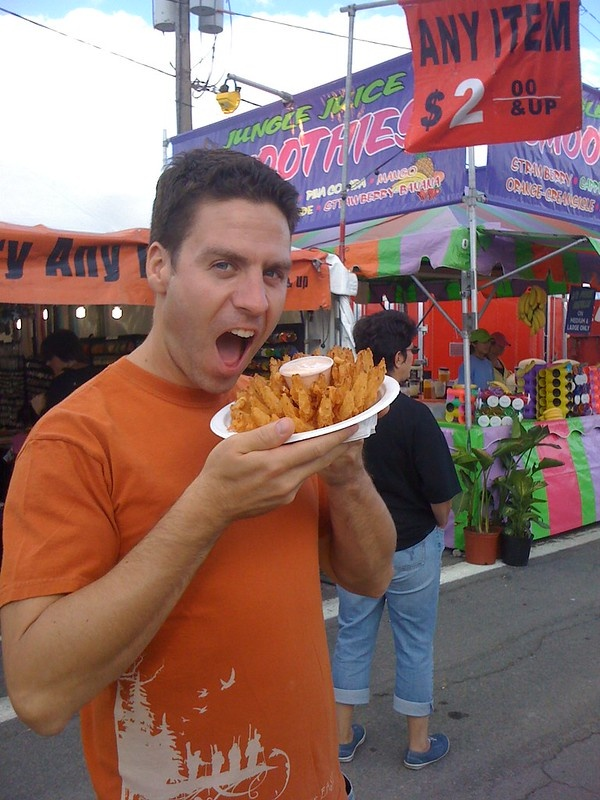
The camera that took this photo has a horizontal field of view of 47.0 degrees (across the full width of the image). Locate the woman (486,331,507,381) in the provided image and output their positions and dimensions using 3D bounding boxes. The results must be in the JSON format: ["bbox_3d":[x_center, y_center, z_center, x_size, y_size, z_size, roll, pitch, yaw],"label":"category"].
[{"bbox_3d":[2.606,-0.638,9.306,0.275,0.848,0.275,-1,-18,21],"label":"woman"}]

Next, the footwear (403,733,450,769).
[{"bbox_3d":[0.603,1.687,3.349,0.095,0.089,0.229,1,5,42],"label":"footwear"}]

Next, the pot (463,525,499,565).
[{"bbox_3d":[1.640,1.325,6.201,0.274,0.219,0.300,0,-6,0],"label":"pot"}]

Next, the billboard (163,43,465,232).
[{"bbox_3d":[0.258,-3.298,9.172,4.156,1.792,0.075,5,9,44],"label":"billboard"}]

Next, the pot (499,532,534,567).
[{"bbox_3d":[1.901,1.346,6.199,0.288,0.245,0.264,1,-7,0],"label":"pot"}]

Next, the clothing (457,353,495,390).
[{"bbox_3d":[2.031,-0.323,7.923,0.499,0.458,0.271,4,7,2],"label":"clothing"}]
